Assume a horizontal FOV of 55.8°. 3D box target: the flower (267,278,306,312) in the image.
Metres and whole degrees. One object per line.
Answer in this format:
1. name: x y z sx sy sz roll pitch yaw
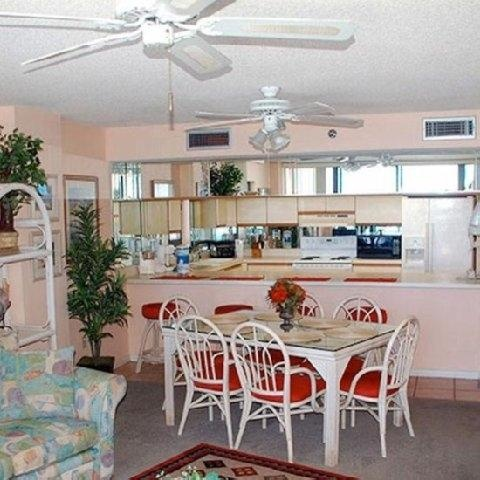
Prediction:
1. flower: 0.370 0.498 3.720 0.287 0.184 0.294 9 36 19

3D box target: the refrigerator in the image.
1. refrigerator: 3.007 -0.062 6.764 1.186 1.751 0.731 0 2 21

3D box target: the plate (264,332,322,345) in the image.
1. plate: 0.422 0.724 3.259 0.314 0.043 0.216 -1 -1 13

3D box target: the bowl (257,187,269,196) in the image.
1. bowl: 0.331 -0.704 6.658 0.142 0.098 0.103 -8 12 -35

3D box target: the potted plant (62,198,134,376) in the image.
1. potted plant: -1.533 0.462 4.854 0.639 1.667 0.961 -1 0 -18

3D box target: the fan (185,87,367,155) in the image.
1. fan: 0.396 -1.092 4.135 0.756 0.302 0.744 1 0 -37

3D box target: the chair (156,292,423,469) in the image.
1. chair: 0.465 0.929 3.707 1.669 0.908 1.130 1 2 37

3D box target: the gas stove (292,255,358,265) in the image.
1. gas stove: 1.440 0.360 7.856 0.995 0.093 0.447 -1 -1 14
